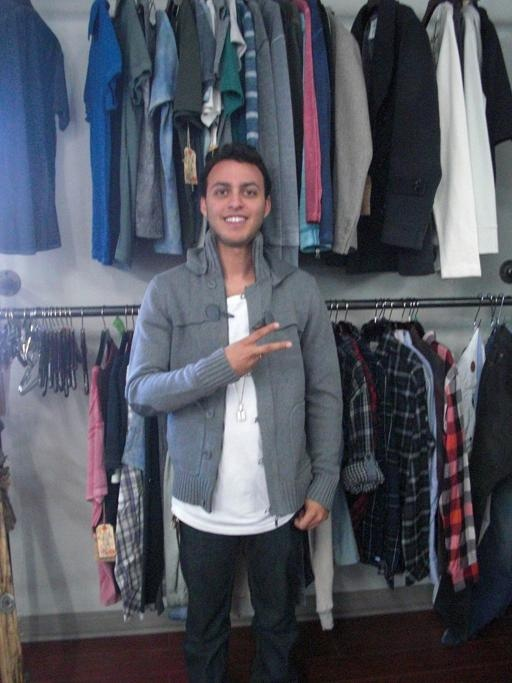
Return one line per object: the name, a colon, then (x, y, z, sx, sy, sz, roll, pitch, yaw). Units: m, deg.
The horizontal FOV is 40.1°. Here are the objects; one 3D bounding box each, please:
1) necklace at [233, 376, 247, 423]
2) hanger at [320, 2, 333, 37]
necklace: (-0.039, 0.153, 1.857, 0.025, 0.107, 0.051, 0, 9, -1)
hanger: (0.216, -1.013, 2.222, 0.038, 0.112, 0.057, -2, 9, -11)
